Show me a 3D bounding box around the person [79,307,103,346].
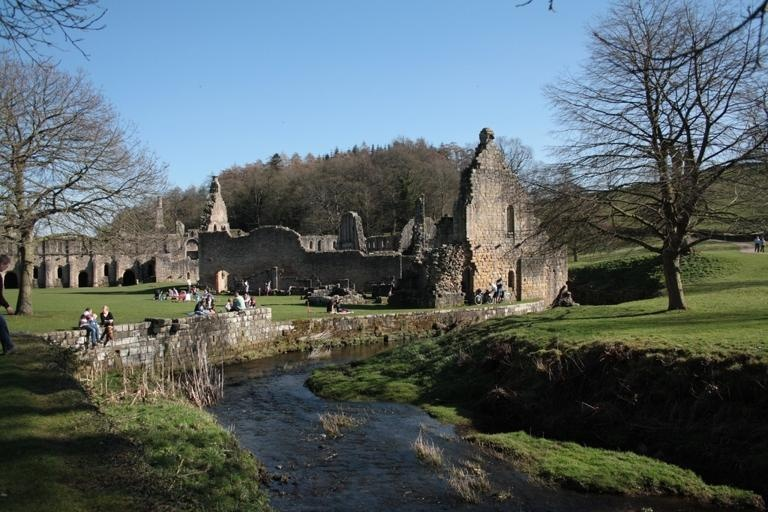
[{"bbox_3d":[-11.793,2.802,29.102,0.783,1.405,1.571,-5,10,-23],"label":"person"}]

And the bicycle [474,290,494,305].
[{"bbox_3d":[5.948,2.496,42.881,0.612,0.761,1.368,-3,-1,15],"label":"bicycle"}]

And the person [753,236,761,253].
[{"bbox_3d":[23.183,-0.642,45.047,0.276,0.847,1.679,4,10,29],"label":"person"}]
